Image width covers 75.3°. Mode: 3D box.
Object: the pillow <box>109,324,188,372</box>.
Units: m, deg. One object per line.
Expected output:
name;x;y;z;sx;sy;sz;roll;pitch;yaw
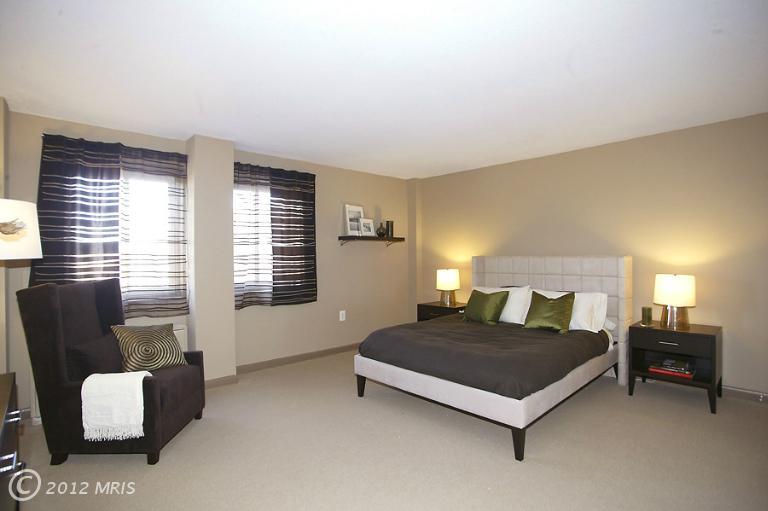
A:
pillow;-2.408;0.963;5.188;0.533;0.531;0.163;4;-45;-48

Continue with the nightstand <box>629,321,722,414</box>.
nightstand;3.468;1.236;5.937;0.891;0.823;0.608;4;8;43

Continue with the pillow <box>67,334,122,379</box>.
pillow;-2.851;1.008;4.892;0.133;0.266;0.364;-7;13;5

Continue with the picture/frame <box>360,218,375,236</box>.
picture/frame;-0.271;-0.441;7.888;0.033;0.263;0.312;-8;-5;38

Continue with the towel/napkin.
towel/napkin;-2.513;1.437;4.714;0.611;0.632;0.141;0;3;2

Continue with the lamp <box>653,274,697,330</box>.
lamp;3.394;0.532;5.819;0.458;0.615;0.320;0;3;0

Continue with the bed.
bed;1.360;0.969;6.089;2.770;1.863;2.061;-2;3;-40

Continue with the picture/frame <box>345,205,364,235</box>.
picture/frame;-0.469;-0.536;7.768;0.058;0.601;0.479;-5;-6;40
